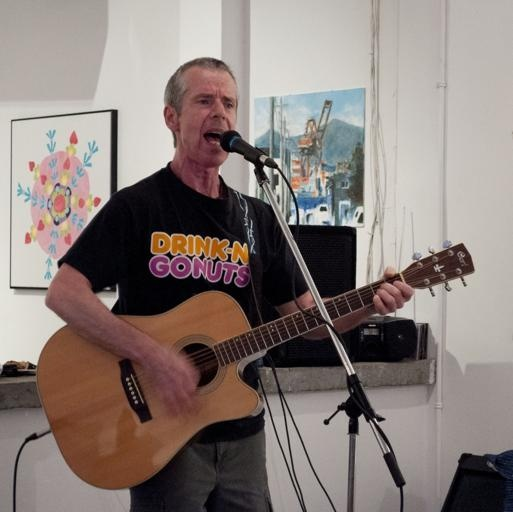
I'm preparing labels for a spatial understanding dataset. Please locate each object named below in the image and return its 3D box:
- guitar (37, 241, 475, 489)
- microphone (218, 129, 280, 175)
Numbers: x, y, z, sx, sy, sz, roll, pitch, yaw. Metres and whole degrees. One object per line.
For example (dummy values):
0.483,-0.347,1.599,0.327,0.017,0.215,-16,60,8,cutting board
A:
-0.027,0.290,2.343,1.499,0.731,0.169,-21,2,-14,guitar
-0.023,-0.299,1.972,0.217,0.076,0.067,31,8,31,microphone
